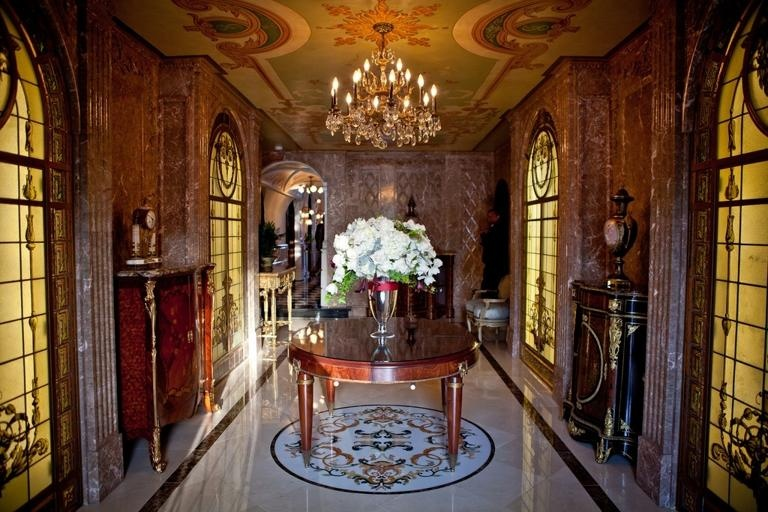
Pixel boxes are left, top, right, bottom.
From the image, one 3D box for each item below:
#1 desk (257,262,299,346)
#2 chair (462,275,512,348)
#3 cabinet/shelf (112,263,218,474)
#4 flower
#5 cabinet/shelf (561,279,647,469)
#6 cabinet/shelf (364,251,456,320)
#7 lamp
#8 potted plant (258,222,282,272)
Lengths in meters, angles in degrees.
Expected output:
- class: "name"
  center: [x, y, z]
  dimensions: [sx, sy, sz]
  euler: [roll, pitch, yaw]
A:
- class: "desk"
  center: [-1.971, 0.914, 9.337]
  dimensions: [0.479, 1.229, 1.402]
  euler: [-1, 1, -3]
- class: "chair"
  center: [1.875, 0.901, 9.047]
  dimensions: [0.670, 1.195, 1.068]
  euler: [0, 7, 0]
- class: "cabinet/shelf"
  center: [-2.257, 1.150, 5.165]
  dimensions: [0.614, 2.475, 1.863]
  euler: [-1, 1, -1]
- class: "flower"
  center: [0.043, -0.052, 4.944]
  dimensions: [0.833, 0.595, 0.869]
  euler: [3, 8, 15]
- class: "cabinet/shelf"
  center: [2.210, 1.159, 5.197]
  dimensions: [0.456, 1.702, 0.883]
  euler: [-5, 11, -27]
- class: "cabinet/shelf"
  center: [0.612, 0.195, 10.912]
  dimensions: [2.088, 2.112, 1.270]
  euler: [0, 3, -5]
- class: "lamp"
  center: [-0.025, -2.118, 6.161]
  dimensions: [1.214, 1.449, 1.198]
  euler: [-1, 1, -33]
- class: "potted plant"
  center: [-1.981, -0.178, 8.669]
  dimensions: [0.303, 0.815, 0.417]
  euler: [-2, 10, -14]
